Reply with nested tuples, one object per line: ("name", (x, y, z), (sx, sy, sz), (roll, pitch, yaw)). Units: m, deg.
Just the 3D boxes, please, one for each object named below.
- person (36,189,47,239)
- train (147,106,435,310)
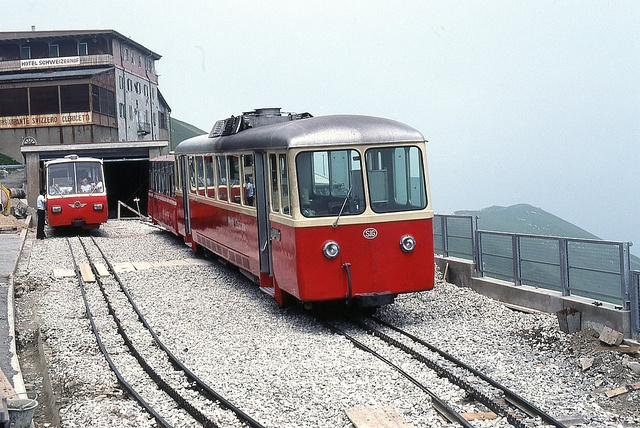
("person", (-13.913, 0.000, 22.802), (0.510, 2.499, 0.841), (-5, 7, -34))
("train", (-3.087, -0.726, 15.972), (2.845, 4.843, 16.941), (-5, 7, -31))
